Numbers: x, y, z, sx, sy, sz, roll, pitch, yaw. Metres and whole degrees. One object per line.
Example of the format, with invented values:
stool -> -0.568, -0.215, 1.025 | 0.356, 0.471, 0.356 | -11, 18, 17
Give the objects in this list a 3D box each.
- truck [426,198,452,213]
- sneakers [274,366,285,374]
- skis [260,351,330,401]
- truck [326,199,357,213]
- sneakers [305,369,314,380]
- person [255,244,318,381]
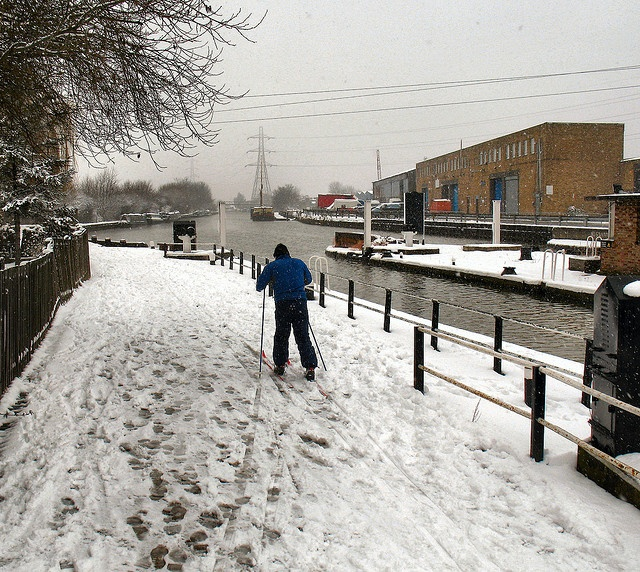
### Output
truck -> 13.516, -8.910, 66.921 | 2.217, 1.870, 2.463 | 0, 11, -4
sneakers -> -0.590, 1.227, 8.700 | 0.087, 0.089, 0.125 | 0, 0, 0
skis -> -0.362, 1.281, 8.399 | 0.111, 0.152, 1.193 | 5, 17, -29
truck -> 3.610, -12.594, 93.342 | 3.803, 1.196, 12.874 | 4, 12, 6
sneakers -> -0.151, 1.246, 8.492 | 0.132, 0.140, 0.192 | 2, 11, -3
person -> -0.433, 0.290, 8.700 | 0.692, 2.041, 0.579 | 0, 21, 4
